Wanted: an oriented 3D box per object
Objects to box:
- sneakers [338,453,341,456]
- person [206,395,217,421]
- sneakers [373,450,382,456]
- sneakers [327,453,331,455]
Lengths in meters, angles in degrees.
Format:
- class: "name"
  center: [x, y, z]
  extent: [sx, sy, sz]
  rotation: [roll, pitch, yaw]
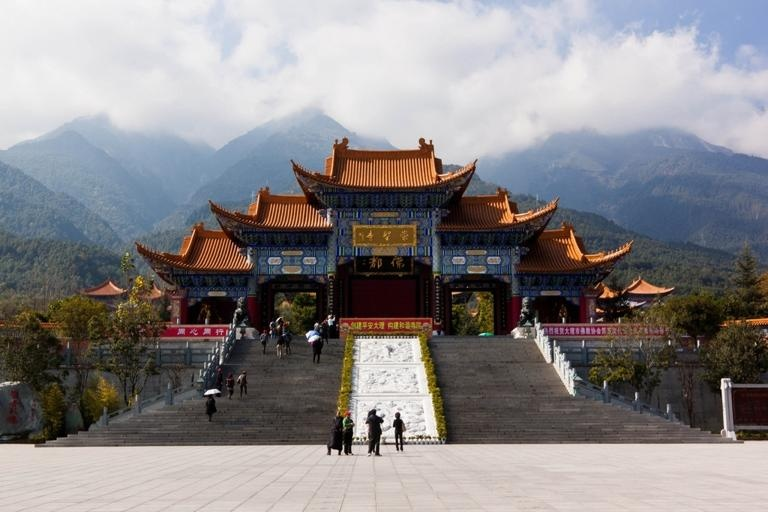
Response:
- class: "sneakers"
  center: [-1.940, 8.621, 35.497]
  extent: [0.114, 0.060, 0.111]
  rotation: [-3, 21, 3]
- class: "person"
  center: [-8.571, 7.592, 40.641]
  extent: [0.566, 1.269, 1.256]
  rotation: [4, -17, -12]
- class: "sneakers"
  center: [-0.322, 8.571, 35.398]
  extent: [0.328, 0.218, 0.120]
  rotation: [-1, 0, -5]
- class: "sneakers"
  center: [-2.380, 8.584, 35.443]
  extent: [0.195, 0.111, 0.443]
  rotation: [1, -16, -4]
